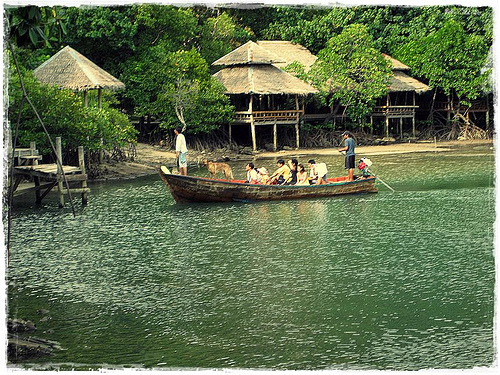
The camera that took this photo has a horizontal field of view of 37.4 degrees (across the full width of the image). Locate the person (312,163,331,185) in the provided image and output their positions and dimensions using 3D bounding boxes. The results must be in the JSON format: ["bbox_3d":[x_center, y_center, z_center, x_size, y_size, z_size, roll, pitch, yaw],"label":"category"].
[{"bbox_3d":[2.537,-0.512,26.462,0.778,0.817,0.670,0,6,2],"label":"person"}]

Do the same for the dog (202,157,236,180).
[{"bbox_3d":[-1.150,-0.647,27.655,1.470,0.727,0.327,5,2,-21],"label":"dog"}]

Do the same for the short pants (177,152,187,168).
[{"bbox_3d":[-2.599,-1.042,28.177,0.324,0.633,0.344,-4,14,-10],"label":"short pants"}]
